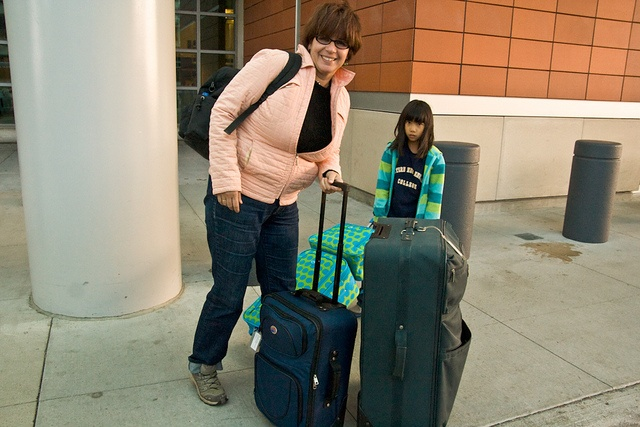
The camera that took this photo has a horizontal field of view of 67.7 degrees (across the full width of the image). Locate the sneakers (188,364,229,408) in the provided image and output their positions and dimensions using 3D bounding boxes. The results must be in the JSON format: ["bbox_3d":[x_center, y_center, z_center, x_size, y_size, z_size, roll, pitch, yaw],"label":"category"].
[{"bbox_3d":[-0.869,1.302,3.694,0.182,0.216,0.457,1,13,-38],"label":"sneakers"}]

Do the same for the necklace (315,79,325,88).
[{"bbox_3d":[0.001,-0.915,3.367,0.056,0.022,0.041,28,23,-31],"label":"necklace"}]

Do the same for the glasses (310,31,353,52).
[{"bbox_3d":[0.079,-1.161,3.243,0.238,0.077,0.049,3,14,-5],"label":"glasses"}]

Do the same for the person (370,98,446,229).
[{"bbox_3d":[0.893,-0.335,4.783,0.673,1.676,0.407,14,35,21],"label":"person"}]

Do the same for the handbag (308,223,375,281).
[{"bbox_3d":[0.293,0.274,4.339,0.518,0.258,0.520,21,34,33],"label":"handbag"}]
